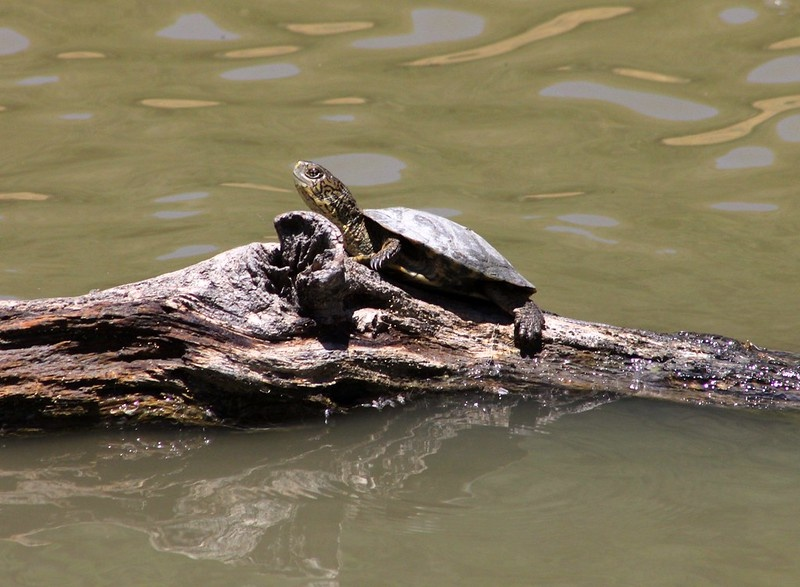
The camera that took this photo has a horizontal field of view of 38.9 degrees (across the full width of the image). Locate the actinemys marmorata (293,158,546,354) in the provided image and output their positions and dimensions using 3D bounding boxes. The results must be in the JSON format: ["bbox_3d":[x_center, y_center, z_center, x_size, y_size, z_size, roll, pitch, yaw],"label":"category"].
[{"bbox_3d":[0.215,-0.355,11.431,2.897,1.739,0.956,11,25,29],"label":"actinemys marmorata"}]
